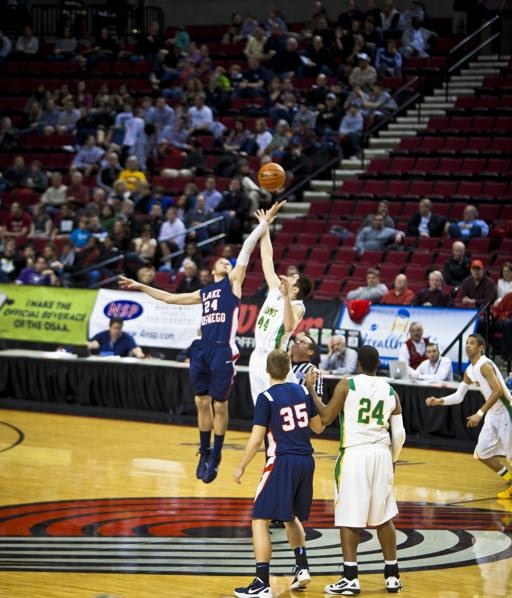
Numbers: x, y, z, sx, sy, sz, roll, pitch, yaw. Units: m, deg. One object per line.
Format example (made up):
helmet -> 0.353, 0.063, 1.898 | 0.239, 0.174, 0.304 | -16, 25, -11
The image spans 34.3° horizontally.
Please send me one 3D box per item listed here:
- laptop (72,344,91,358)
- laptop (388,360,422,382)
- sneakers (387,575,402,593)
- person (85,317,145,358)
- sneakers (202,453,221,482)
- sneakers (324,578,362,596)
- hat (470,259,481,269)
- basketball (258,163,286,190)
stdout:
laptop -> -2.544, 0.767, 11.959 | 0.264, 0.186, 0.179 | -6, -13, 33
laptop -> 1.676, 0.819, 9.446 | 0.305, 0.211, 0.224 | 2, 6, 40
sneakers -> 0.774, 1.599, 4.641 | 0.055, 0.053, 0.127 | 1, 0, 6
person -> -1.892, 0.605, 11.250 | 0.788, 0.979, 0.554 | 0, -2, -3
sneakers -> -0.329, 1.303, 6.368 | 0.097, 0.234, 0.216 | 2, 2, 13
sneakers -> 0.494, 1.603, 4.651 | 0.244, 0.117, 0.081 | 2, -1, 8
hat -> 2.870, -0.446, 10.740 | 0.112, 0.086, 0.174 | -2, -12, 11
basketball -> 0.139, -1.090, 7.360 | 0.215, 0.268, 0.378 | 1, 2, -1
